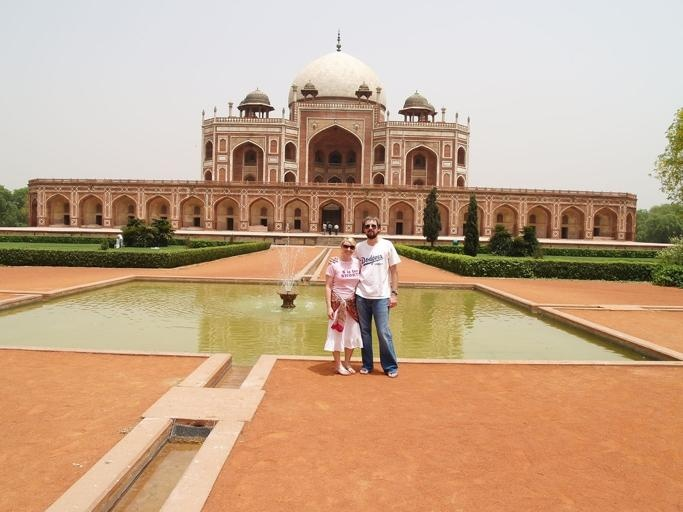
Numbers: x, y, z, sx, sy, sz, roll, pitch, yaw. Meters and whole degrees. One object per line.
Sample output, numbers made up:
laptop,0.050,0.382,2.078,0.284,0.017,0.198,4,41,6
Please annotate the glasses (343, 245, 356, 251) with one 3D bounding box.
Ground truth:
glasses,0.065,-0.061,4.759,0.117,0.049,0.064,-1,6,-24

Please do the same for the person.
person,0.279,0.329,4.839,0.381,1.271,0.278,1,5,2
